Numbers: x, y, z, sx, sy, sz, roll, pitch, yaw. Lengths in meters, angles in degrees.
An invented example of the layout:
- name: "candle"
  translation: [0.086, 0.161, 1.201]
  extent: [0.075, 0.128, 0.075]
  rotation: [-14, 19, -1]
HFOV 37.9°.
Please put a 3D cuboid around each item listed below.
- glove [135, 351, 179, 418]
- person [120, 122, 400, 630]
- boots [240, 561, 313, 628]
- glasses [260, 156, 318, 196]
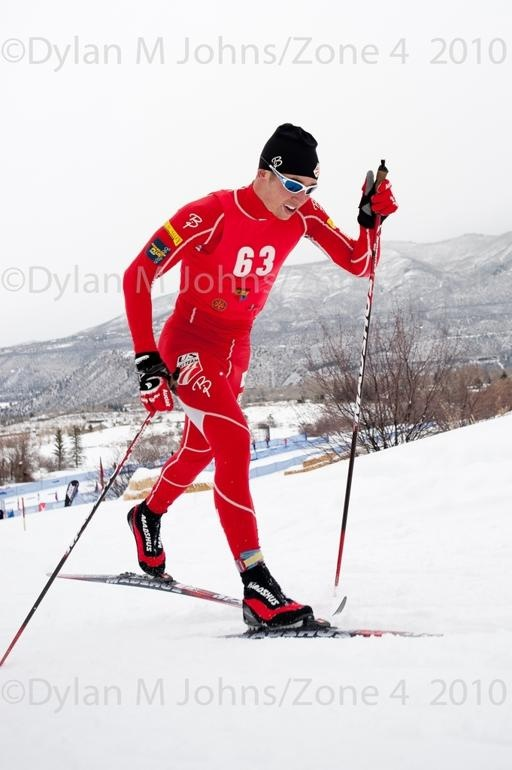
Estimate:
- name: "glove"
  translation: [-0.407, -0.008, 3.069]
  extent: [0.145, 0.244, 0.069]
  rotation: [-15, 1, 11]
- name: "person"
  translation: [-0.033, -0.081, 3.257]
  extent: [0.802, 2.054, 0.963]
  rotation: [-5, 0, 18]
- name: "boots"
  translation: [0.073, 0.794, 2.837]
  extent: [0.325, 0.232, 0.121]
  rotation: [-11, -9, 41]
- name: "glasses"
  translation: [0.155, -0.844, 3.035]
  extent: [0.181, 0.130, 0.097]
  rotation: [-5, 0, -21]
